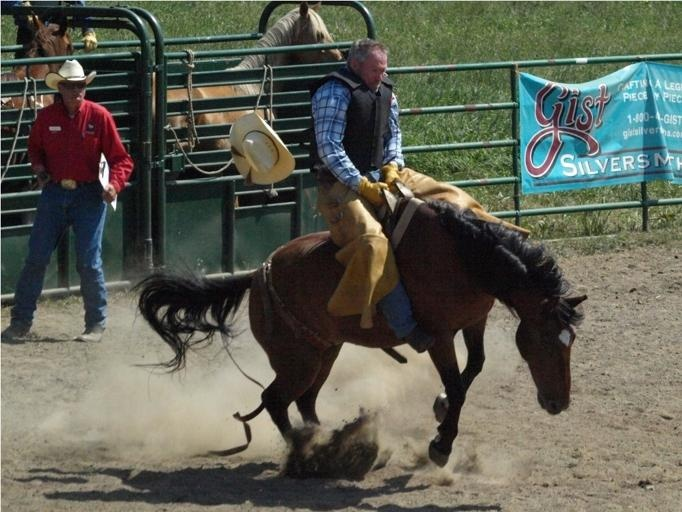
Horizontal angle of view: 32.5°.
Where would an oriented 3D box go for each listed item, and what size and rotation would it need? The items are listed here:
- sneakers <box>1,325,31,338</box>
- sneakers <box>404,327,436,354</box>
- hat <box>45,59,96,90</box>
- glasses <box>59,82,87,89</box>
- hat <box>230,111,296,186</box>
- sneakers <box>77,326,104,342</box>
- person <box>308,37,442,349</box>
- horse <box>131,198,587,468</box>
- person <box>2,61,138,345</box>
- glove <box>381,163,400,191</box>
[{"bbox_3d":[-3.171,0.730,11.353,0.279,0.149,0.112,7,-2,-19],"label":"sneakers"},{"bbox_3d":[0.629,0.685,9.594,0.228,0.177,0.086,43,3,7],"label":"sneakers"},{"bbox_3d":[-2.647,-1.746,11.279,0.309,0.175,0.380,-8,-14,-18],"label":"hat"},{"bbox_3d":[-2.540,-1.602,10.965,0.246,0.087,0.145,-1,11,-15],"label":"glasses"},{"bbox_3d":[-0.653,-0.923,9.883,0.481,0.589,0.170,-29,9,33],"label":"hat"},{"bbox_3d":[-2.455,0.770,11.389,0.112,0.116,0.250,5,3,26],"label":"sneakers"},{"bbox_3d":[0.180,-0.542,9.688,0.891,2.467,0.767,1,9,-3],"label":"person"},{"bbox_3d":[0.009,0.619,10.023,3.646,2.271,0.943,2,1,12],"label":"horse"},{"bbox_3d":[-2.600,-0.508,11.186,1.131,2.689,0.345,2,8,2],"label":"person"},{"bbox_3d":[0.389,-0.677,9.735,0.076,0.368,0.166,7,9,21],"label":"glove"}]
